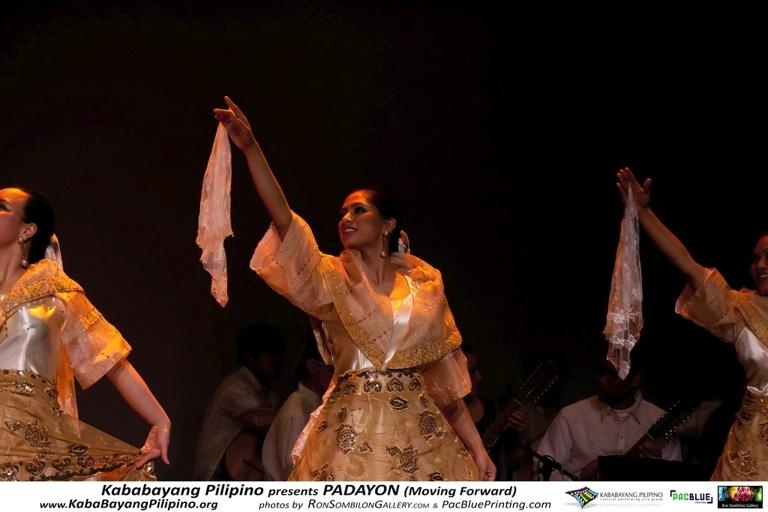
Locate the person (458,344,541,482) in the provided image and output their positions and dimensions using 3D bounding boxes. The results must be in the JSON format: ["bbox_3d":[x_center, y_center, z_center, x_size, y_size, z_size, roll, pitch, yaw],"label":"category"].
[{"bbox_3d":[0.728,1.051,5.002,0.411,0.987,0.144,17,-20,-6],"label":"person"}]
